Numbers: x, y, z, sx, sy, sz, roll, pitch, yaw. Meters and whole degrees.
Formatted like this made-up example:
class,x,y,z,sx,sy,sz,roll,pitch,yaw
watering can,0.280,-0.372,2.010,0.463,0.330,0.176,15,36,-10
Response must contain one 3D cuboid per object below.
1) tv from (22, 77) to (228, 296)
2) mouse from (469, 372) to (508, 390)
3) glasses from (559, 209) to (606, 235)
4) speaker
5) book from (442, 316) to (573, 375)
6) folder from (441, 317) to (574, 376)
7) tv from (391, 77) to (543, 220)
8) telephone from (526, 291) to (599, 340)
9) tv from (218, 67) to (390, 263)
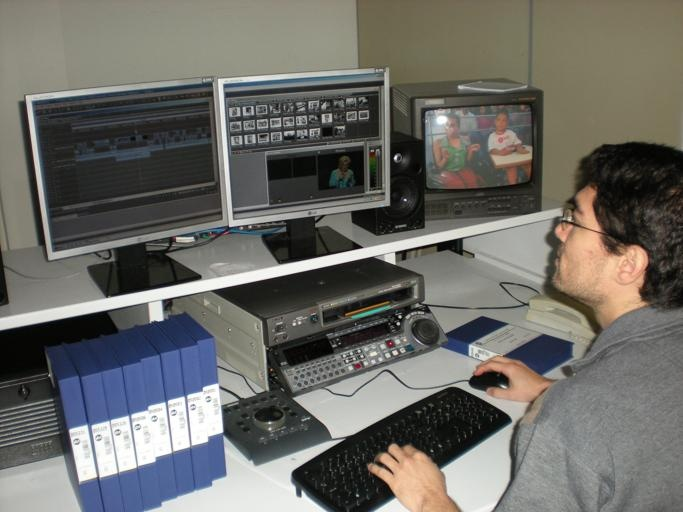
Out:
class,x,y,z,sx,sy,sz,roll,pitch,yaw
tv,-0.621,-0.195,1.667,0.599,0.627,0.227,-14,25,-35
mouse,0.481,0.408,1.861,0.101,0.026,0.055,2,20,15
glasses,0.608,-0.092,1.443,0.068,0.019,0.065,14,16,3
speaker,0.175,-0.271,2.099,0.228,0.331,0.220,-14,22,-31
book,0.597,0.311,2.062,0.282,0.056,0.209,19,32,34
folder,0.607,0.309,2.069,0.281,0.055,0.210,19,32,35
tv,0.496,-0.396,2.262,0.492,0.445,0.354,-4,10,-2
telephone,0.854,0.234,2.201,0.269,0.097,0.083,20,21,28
tv,-0.121,-0.301,1.876,0.590,0.573,0.212,-11,29,-21
